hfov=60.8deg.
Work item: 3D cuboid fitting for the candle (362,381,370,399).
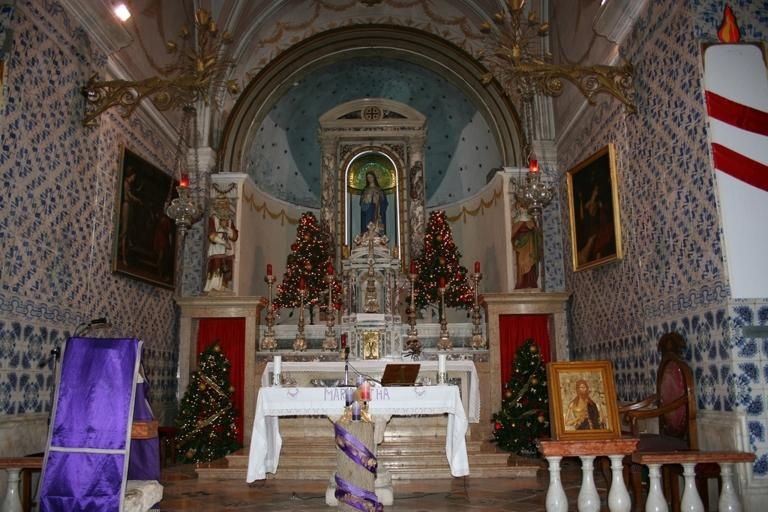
[{"bbox_3d":[-0.222,1.550,7.594,0.082,0.227,0.273,-1,-16,-3],"label":"candle"}]

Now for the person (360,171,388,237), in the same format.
[{"bbox_3d":[-0.236,-1.247,15.363,0.670,1.665,0.483,-1,-15,-2],"label":"person"}]

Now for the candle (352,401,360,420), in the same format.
[{"bbox_3d":[-0.298,1.743,7.393,0.107,0.198,0.108,4,-16,-20],"label":"candle"}]

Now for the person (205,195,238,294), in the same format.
[{"bbox_3d":[-3.093,-0.246,12.523,0.535,1.913,0.309,3,-15,-18],"label":"person"}]

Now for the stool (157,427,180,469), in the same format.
[{"bbox_3d":[-3.611,3.196,10.982,0.293,0.663,0.920,3,-17,-17],"label":"stool"}]

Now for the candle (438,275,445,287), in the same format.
[{"bbox_3d":[1.074,0.472,11.946,0.053,0.241,0.280,-6,-16,15],"label":"candle"}]

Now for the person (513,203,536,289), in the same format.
[{"bbox_3d":[2.665,-0.186,12.377,0.472,1.596,0.338,-6,-15,14],"label":"person"}]

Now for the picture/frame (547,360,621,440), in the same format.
[{"bbox_3d":[2.290,1.673,7.555,0.886,1.167,0.264,-1,-25,1],"label":"picture/frame"}]
